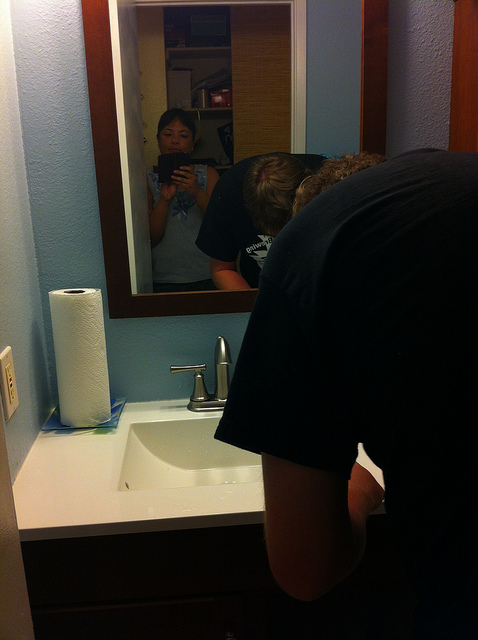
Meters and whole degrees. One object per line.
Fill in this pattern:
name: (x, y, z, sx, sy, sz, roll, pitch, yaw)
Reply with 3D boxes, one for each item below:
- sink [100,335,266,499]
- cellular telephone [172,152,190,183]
sink: (-0.120, 0.172, 1.112, 0.267, 0.225, 0.310, -1, 6, -3)
cellular telephone: (-0.125, -0.331, 1.119, 0.053, 0.082, 0.008, 1, 17, -8)
